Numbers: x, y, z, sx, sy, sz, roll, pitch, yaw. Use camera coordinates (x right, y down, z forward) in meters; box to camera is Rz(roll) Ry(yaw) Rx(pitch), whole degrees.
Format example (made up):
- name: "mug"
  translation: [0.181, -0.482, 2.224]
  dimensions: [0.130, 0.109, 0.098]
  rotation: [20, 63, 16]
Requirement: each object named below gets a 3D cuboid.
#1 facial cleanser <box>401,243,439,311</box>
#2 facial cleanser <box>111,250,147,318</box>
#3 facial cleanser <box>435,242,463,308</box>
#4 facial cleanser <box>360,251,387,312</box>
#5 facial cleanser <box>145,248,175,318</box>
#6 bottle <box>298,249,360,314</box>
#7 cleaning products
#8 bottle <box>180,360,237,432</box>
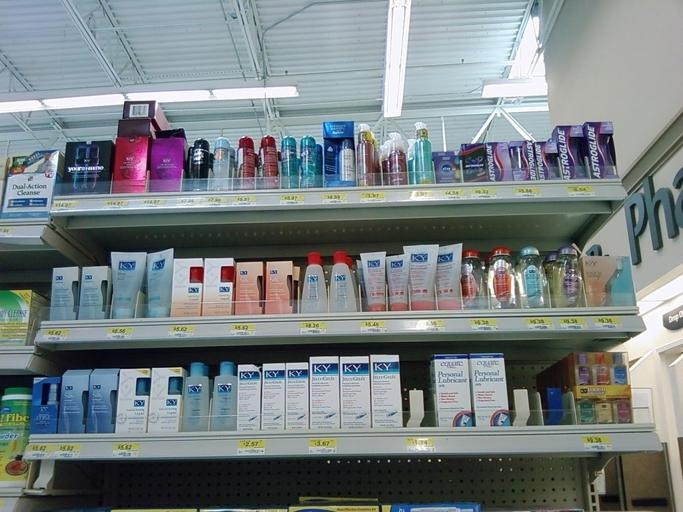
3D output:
- name: "facial cleanser"
  translation: [0.354, 0.094, 2.512]
  dimensions: [0.154, 0.287, 0.124]
  rotation: [0, -11, -1]
- name: "facial cleanser"
  translation: [-0.990, 0.127, 2.582]
  dimensions: [0.143, 0.298, 0.107]
  rotation: [0, -14, -5]
- name: "facial cleanser"
  translation: [0.485, 0.088, 2.475]
  dimensions: [0.124, 0.274, 0.096]
  rotation: [3, -12, 12]
- name: "facial cleanser"
  translation: [0.146, 0.118, 2.478]
  dimensions: [0.107, 0.263, 0.079]
  rotation: [-1, -17, 0]
- name: "facial cleanser"
  translation: [-0.832, 0.141, 2.552]
  dimensions: [0.199, 0.325, 0.087]
  rotation: [-11, -12, 34]
- name: "bottle"
  translation: [-0.064, 0.125, 2.573]
  dimensions: [0.224, 0.285, 0.165]
  rotation: [-2, -9, -4]
- name: "cleaning products"
  translation: [-0.061, 0.127, 2.529]
  dimensions: [0.294, 0.338, 0.135]
  rotation: [-2, -26, 4]
- name: "bottle"
  translation: [-0.582, 0.616, 2.399]
  dimensions: [0.305, 0.349, 0.122]
  rotation: [-1, -14, 3]
